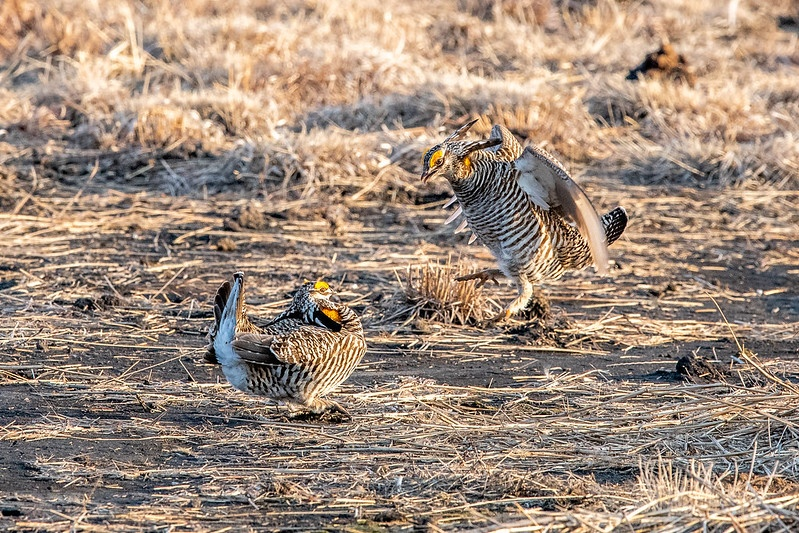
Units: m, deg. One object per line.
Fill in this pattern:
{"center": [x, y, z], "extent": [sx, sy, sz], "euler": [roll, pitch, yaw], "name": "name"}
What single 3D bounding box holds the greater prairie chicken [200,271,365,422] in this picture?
{"center": [-0.848, 0.525, 7.695], "extent": [1.158, 0.676, 0.722], "euler": [-3, 12, -39], "name": "greater prairie chicken"}
